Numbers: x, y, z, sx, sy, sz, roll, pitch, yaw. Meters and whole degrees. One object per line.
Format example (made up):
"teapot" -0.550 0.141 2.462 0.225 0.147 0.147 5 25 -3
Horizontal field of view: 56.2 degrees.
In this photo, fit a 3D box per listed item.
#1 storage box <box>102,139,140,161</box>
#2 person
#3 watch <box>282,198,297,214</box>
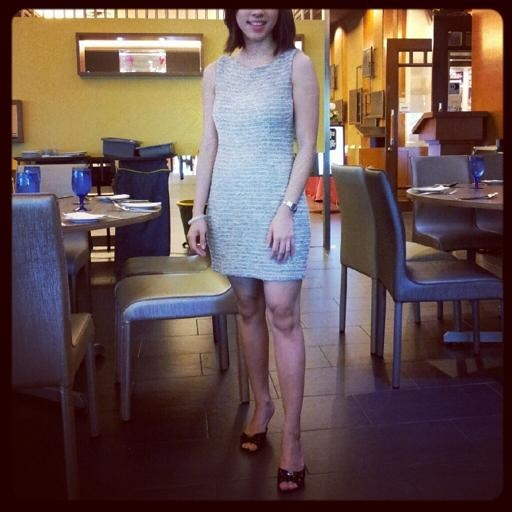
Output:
"storage box" -1.372 -1.068 4.730 0.354 0.216 0.280 7 14 6
"person" -0.007 -0.022 1.581 0.448 1.485 0.250 5 10 32
"watch" 0.099 -0.147 1.404 0.041 0.028 0.042 41 0 10
